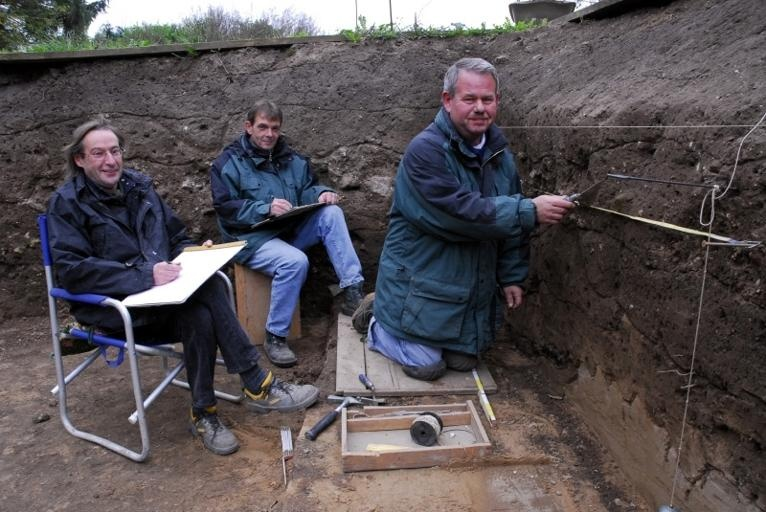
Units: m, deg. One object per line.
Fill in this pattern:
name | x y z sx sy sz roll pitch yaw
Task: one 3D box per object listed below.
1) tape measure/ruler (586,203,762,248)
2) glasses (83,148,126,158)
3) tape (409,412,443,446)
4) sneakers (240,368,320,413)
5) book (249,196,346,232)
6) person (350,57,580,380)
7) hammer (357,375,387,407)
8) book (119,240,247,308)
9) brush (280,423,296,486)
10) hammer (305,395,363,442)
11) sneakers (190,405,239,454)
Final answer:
tape measure/ruler | 1.613 -0.155 3.162 0.069 0.077 0.965 -10 19 -27
glasses | -1.862 -0.689 3.776 0.105 0.068 0.234 15 22 40
tape | 0.295 1.112 3.682 0.174 0.164 0.225 8 19 24
sneakers | -0.760 0.989 4.125 0.540 0.271 0.214 -5 18 1
book | -0.793 -0.361 4.859 0.997 0.288 0.505 -12 19 -37
person | 0.542 -0.152 4.401 1.415 2.730 1.018 -4 8 -38
hammer | -0.098 0.946 4.081 0.097 0.088 0.325 -43 56 -17
book | -1.304 0.100 3.731 0.460 0.245 0.782 5 18 19
brush | -0.637 1.306 3.725 0.078 0.020 0.453 -7 43 -4
hammer | -0.354 1.096 3.838 0.178 0.070 0.387 -16 8 32
sneakers | -1.169 1.165 3.867 0.465 0.235 0.175 20 23 38
